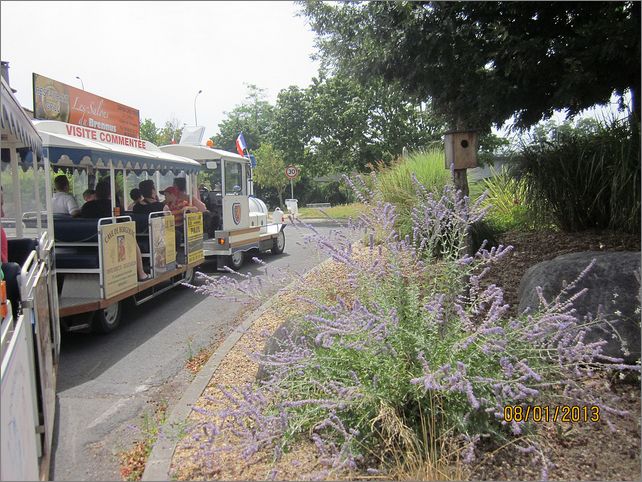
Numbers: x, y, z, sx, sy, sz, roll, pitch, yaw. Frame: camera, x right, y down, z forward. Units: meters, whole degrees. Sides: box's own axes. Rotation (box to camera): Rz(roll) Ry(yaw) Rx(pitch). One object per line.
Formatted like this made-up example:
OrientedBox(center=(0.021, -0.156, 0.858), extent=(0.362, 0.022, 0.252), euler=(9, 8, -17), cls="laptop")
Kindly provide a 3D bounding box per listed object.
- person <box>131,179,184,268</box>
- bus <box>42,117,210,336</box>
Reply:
OrientedBox(center=(-3.441, -0.139, 9.665), extent=(0.790, 2.241, 1.132), euler=(-1, 5, -7), cls="person")
OrientedBox(center=(-3.835, -0.336, 9.255), extent=(1.616, 3.364, 5.504), euler=(-6, 6, 3), cls="bus")
